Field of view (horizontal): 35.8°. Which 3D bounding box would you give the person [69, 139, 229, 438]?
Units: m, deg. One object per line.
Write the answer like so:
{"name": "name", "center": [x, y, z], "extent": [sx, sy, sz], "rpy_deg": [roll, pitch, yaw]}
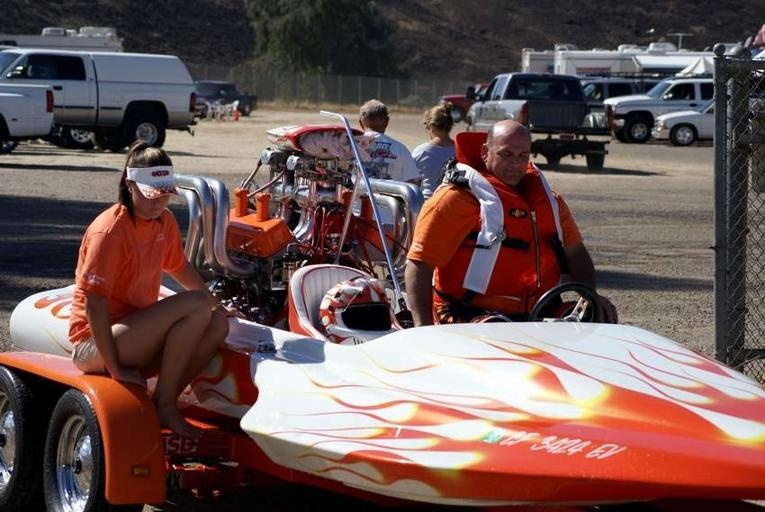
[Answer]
{"name": "person", "center": [-1.767, 0.231, 8.853], "extent": [1.121, 2.115, 0.790], "rpy_deg": [-1, 10, -19]}

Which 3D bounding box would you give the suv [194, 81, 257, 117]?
{"name": "suv", "center": [-7.282, -7.429, 54.398], "extent": [1.554, 1.216, 2.717], "rpy_deg": [5, 4, 42]}

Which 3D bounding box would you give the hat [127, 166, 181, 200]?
{"name": "hat", "center": [-1.727, -0.618, 8.900], "extent": [0.329, 0.181, 0.470], "rpy_deg": [-7, 28, -25]}

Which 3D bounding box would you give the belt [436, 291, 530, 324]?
{"name": "belt", "center": [0.678, 0.410, 9.272], "extent": [0.427, 0.264, 0.345], "rpy_deg": [7, -11, 29]}

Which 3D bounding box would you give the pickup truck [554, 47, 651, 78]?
{"name": "pickup truck", "center": [7.672, -6.831, 42.030], "extent": [3.132, 0.890, 1.667], "rpy_deg": [-2, 12, -27]}

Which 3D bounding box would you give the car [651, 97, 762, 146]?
{"name": "car", "center": [8.483, -3.760, 33.469], "extent": [1.583, 1.356, 1.348], "rpy_deg": [5, 10, 10]}

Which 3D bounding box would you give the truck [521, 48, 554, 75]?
{"name": "truck", "center": [5.685, -7.154, 43.490], "extent": [1.181, 0.835, 3.155], "rpy_deg": [4, 12, 7]}

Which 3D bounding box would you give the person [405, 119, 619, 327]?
{"name": "person", "center": [0.897, -0.256, 9.272], "extent": [1.422, 1.583, 0.769], "rpy_deg": [3, 9, -1]}

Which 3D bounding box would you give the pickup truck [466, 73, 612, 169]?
{"name": "pickup truck", "center": [3.408, -3.148, 26.693], "extent": [1.728, 1.564, 3.376], "rpy_deg": [3, 15, -14]}
